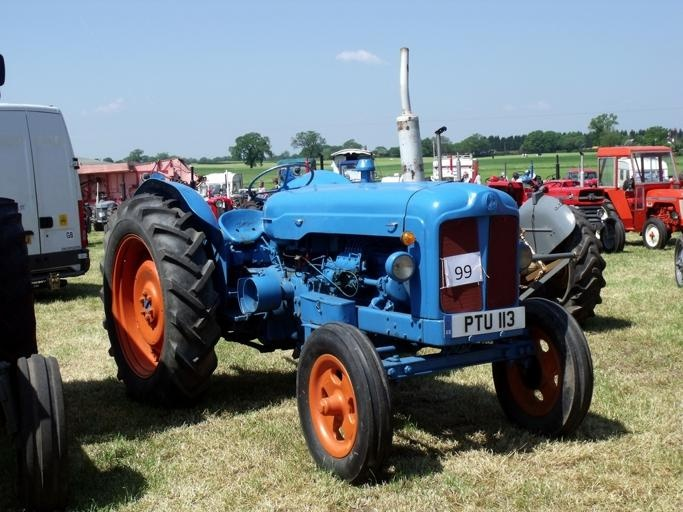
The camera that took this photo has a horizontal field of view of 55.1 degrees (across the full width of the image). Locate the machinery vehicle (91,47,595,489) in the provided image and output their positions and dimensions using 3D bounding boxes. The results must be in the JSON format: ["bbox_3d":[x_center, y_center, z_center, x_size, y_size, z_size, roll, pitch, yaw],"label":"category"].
[{"bbox_3d":[-0.022,0.312,5.754,2.527,3.286,3.956,-1,1,-39],"label":"machinery vehicle"}]

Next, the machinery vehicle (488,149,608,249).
[{"bbox_3d":[5.283,-1.555,16.193,1.433,2.041,3.129,-7,9,-9],"label":"machinery vehicle"}]
